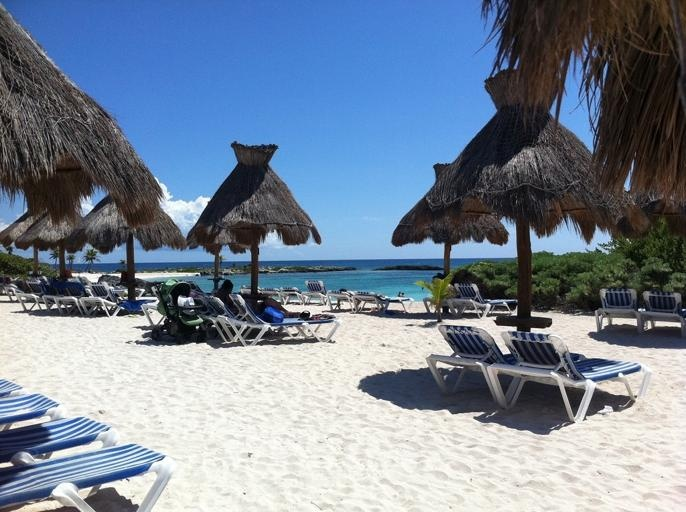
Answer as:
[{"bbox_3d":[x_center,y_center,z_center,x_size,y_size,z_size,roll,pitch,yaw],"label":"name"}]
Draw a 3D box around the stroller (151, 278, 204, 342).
[{"bbox_3d":[-2.827,1.018,9.827,1.263,1.252,0.784,-2,-2,38],"label":"stroller"}]
